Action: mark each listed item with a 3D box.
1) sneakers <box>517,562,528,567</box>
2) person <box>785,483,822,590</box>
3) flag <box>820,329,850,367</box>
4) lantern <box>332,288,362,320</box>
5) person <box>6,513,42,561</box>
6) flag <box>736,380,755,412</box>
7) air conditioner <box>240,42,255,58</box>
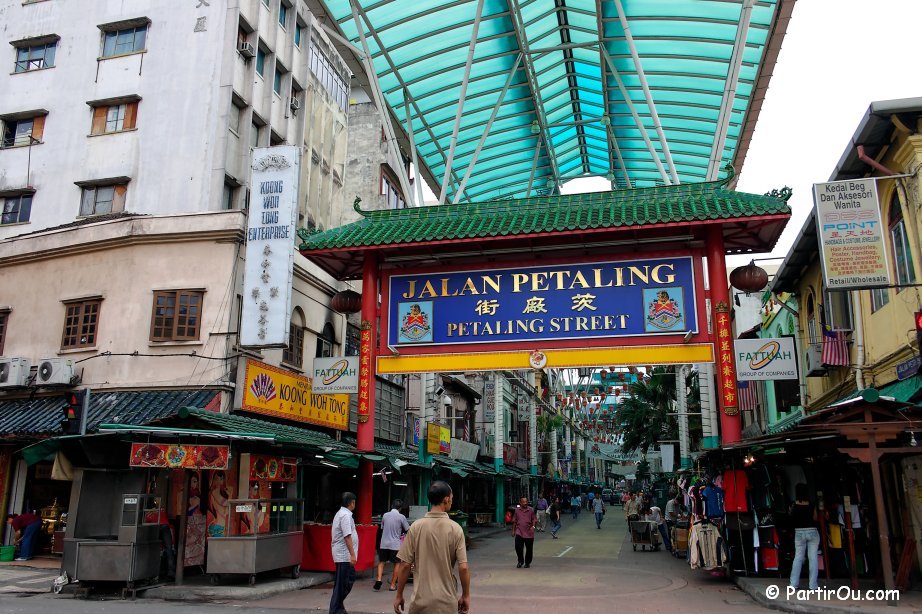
[{"bbox_3d":[1.927,8.319,22.960,0.379,0.168,0.125,19,-27,-16],"label":"sneakers"},{"bbox_3d":[8.203,5.497,17.159,0.711,2.405,1.043,-9,-19,24],"label":"person"},{"bbox_3d":[11.924,1.293,22.877,0.759,1.130,0.355,-12,-21,32],"label":"flag"},{"bbox_3d":[-3.785,-0.128,23.497,0.983,0.989,0.967,2,-8,-9],"label":"lantern"},{"bbox_3d":[-14.271,7.480,23.345,1.159,1.484,0.772,-17,-24,42],"label":"person"},{"bbox_3d":[11.392,3.538,28.481,0.403,1.098,1.913,-5,-17,14],"label":"flag"},{"bbox_3d":[-8.184,-9.794,27.210,0.439,0.508,0.764,-4,6,9],"label":"air conditioner"}]
